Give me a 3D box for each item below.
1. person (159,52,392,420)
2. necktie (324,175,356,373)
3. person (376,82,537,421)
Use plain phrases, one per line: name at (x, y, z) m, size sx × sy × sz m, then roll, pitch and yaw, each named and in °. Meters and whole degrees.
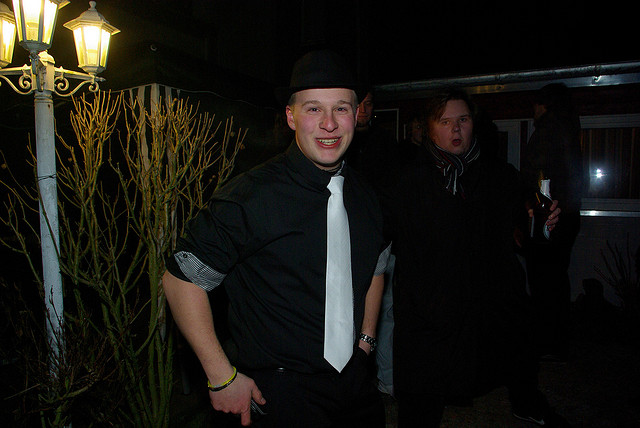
person at (-0.203, 0.171, 3.706) m, size 1.553 × 2.614 × 0.503 m, roll 1°, pitch 7°, yaw -17°
necktie at (0.136, 0.417, 3.730) m, size 0.218 × 1.328 × 0.263 m, roll 2°, pitch 7°, yaw -4°
person at (1.148, 0.386, 4.684) m, size 1.280 × 2.925 × 0.491 m, roll 4°, pitch 7°, yaw 8°
